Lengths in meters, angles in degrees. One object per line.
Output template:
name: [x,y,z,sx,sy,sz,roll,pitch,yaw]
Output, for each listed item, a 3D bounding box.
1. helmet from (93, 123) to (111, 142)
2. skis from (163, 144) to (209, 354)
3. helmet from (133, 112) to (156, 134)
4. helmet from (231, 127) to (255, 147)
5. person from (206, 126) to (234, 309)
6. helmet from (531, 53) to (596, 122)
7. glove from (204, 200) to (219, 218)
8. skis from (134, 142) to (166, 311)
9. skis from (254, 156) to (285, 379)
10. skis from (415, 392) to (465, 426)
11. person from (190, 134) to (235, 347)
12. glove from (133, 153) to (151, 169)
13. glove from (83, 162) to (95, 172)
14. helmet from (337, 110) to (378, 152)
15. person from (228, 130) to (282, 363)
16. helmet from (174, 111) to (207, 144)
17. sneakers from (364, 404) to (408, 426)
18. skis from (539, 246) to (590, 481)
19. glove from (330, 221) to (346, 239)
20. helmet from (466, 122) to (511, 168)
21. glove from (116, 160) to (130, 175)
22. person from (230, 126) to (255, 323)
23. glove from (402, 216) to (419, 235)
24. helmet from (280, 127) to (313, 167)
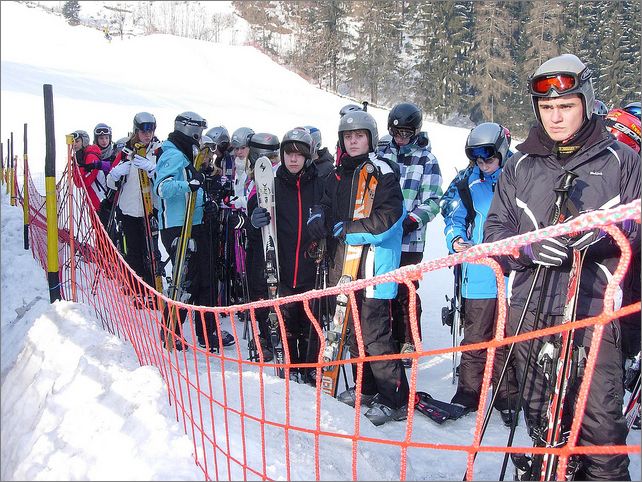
helmet: [-3.416,-1.701,9.422,0.241,0.293,0.292,-1,3,-23]
skis: [-1.446,0.051,6.453,0.218,2.422,0.230,20,-13,-41]
helmet: [-2.117,-1.443,7.257,0.206,0.237,0.266,-9,24,-29]
helmet: [-1.066,-1.419,8.221,0.246,0.358,0.306,8,3,24]
person: [-1.433,-0.782,8.674,0.374,4.015,0.443,-1,-4,-3]
helmet: [1.636,-1.080,4.170,0.357,0.471,0.480,6,35,34]
glove: [-1.242,-0.360,6.853,0.130,0.199,0.072,3,7,0]
skis: [-2.004,-0.244,7.066,0.193,2.174,0.280,-2,-2,5]
skis: [-0.517,0.102,6.055,0.234,2.526,0.128,-3,-3,7]
skis: [1.034,1.552,5.528,0.185,0.087,0.324,-6,10,-30]
person: [-1.244,0.219,6.960,0.385,3.937,0.505,1,-12,-12]
glove: [-2.130,-0.939,7.290,0.256,0.189,0.208,3,13,-3]
glove: [-3.330,-1.081,8.705,0.111,0.101,0.186,-2,26,33]
helmet: [0.352,-1.052,5.616,0.286,0.352,0.398,2,23,9]
person: [-0.719,-0.185,6.755,0.427,3.436,0.484,0,3,-18]
helmet: [-1.510,-1.316,6.800,0.285,0.376,0.334,23,39,31]
sneakers: [0.555,1.572,5.413,0.442,0.171,0.212,1,-22,-4]
skis: [1.476,0.838,3.710,0.135,1.961,0.195,-1,10,-22]
glove: [0.157,-0.094,5.375,0.045,0.154,0.105,15,-5,-38]
helmet: [1.585,-0.935,5.758,0.355,0.415,0.479,2,21,31]
glove: [-2.413,-0.896,7.381,0.186,0.170,0.115,-2,13,-23]
person: [-1.076,-0.571,7.919,0.285,3.270,0.455,0,-2,3]
glove: [0.923,-0.165,6.362,0.158,0.186,0.140,-13,45,-23]
helmet: [-0.234,-0.939,5.956,0.224,0.331,0.333,1,20,5]
